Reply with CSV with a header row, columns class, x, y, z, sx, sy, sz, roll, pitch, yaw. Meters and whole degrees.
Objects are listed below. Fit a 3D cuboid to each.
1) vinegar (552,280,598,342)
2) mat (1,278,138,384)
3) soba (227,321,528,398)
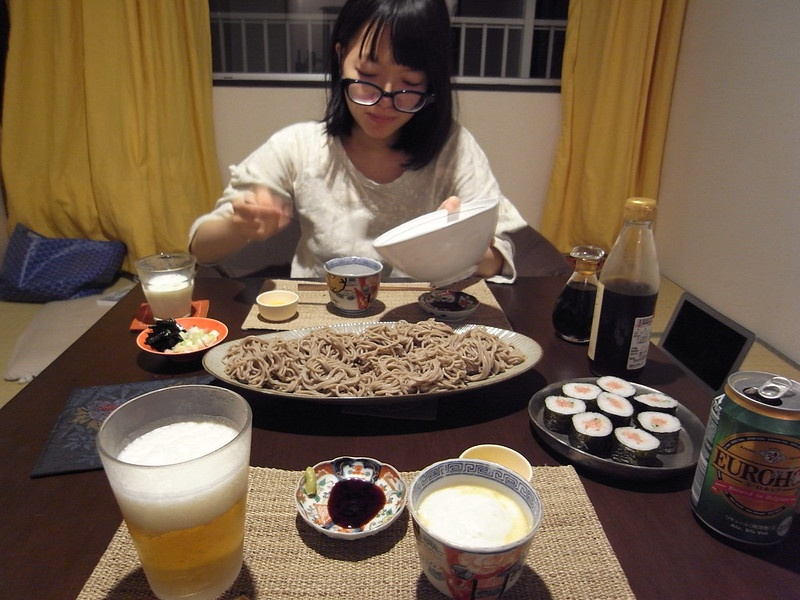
class,x,y,z,sx,sy,sz,roll,pitch,yaw
vinegar,0.403,0.022,1.369,0.060,0.135,0.090,4,10,7
mat,-1.272,0.110,2.186,0.560,0.271,0.704,-4,17,-26
soba,-0.093,0.145,1.342,0.600,0.130,0.754,-2,0,-41
